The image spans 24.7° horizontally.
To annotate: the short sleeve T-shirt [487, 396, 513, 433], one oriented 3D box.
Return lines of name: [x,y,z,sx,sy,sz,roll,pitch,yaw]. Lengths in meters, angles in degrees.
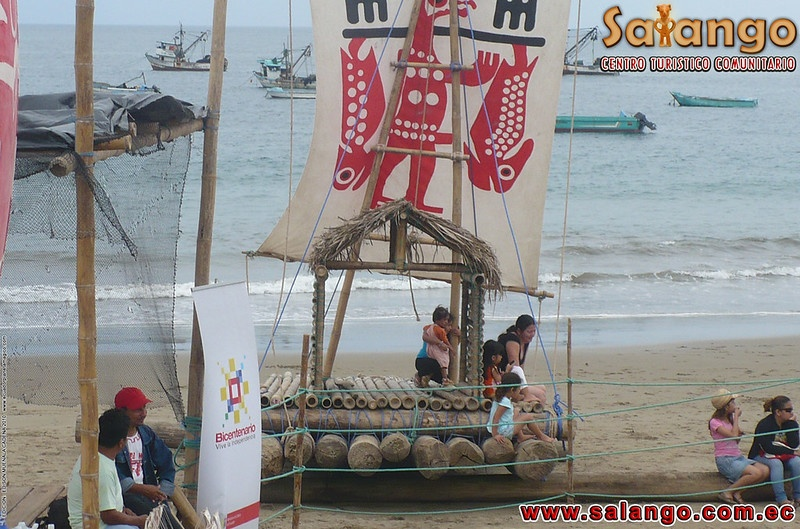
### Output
short sleeve T-shirt: [3.047,4.557,55.779,0.588,1.024,1.022,3,1,-37]

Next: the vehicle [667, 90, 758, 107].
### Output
vehicle: [18.087,-9.672,106.555,5.720,0.789,2.815,-4,7,-41]

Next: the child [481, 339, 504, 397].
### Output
child: [2.823,3.396,56.850,0.695,2.136,0.715,7,12,37]

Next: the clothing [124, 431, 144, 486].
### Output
clothing: [-7.816,5.808,54.274,0.451,1.877,0.440,-4,-25,-14]

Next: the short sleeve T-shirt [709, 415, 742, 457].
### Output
short sleeve T-shirt: [9.938,5.112,56.280,0.993,0.951,0.589,8,3,-40]

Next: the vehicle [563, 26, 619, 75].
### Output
vehicle: [12.194,-14.624,123.061,2.434,3.223,8.172,-1,11,-12]

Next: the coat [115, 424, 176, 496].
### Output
coat: [-7.570,5.825,54.172,1.975,2.643,1.442,-2,1,-15]
